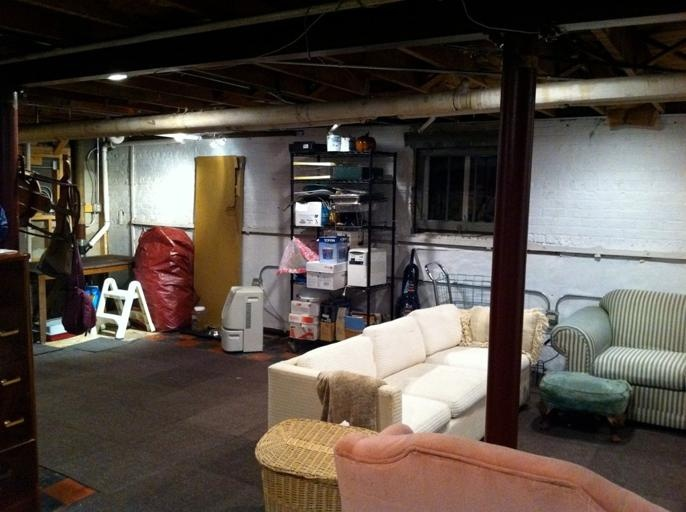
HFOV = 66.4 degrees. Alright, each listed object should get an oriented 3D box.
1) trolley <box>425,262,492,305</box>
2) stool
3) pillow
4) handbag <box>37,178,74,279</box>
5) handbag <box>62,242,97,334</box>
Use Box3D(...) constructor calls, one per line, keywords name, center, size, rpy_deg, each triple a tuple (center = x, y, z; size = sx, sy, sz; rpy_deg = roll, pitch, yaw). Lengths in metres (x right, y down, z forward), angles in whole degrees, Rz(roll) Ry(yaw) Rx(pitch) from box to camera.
Box3D(name="trolley", center=(1.484, 0.404, 6.773), size=(0.777, 0.460, 0.432), rpy_deg=(0, 4, 18))
Box3D(name="stool", center=(2.239, 1.361, 4.918), size=(0.766, 0.453, 0.551), rpy_deg=(3, 3, 25))
Box3D(name="pillow", center=(1.904, 0.873, 5.881), size=(1.107, 0.432, 0.892), rpy_deg=(5, -6, 15))
Box3D(name="handbag", center=(-3.346, -0.242, 6.086), size=(0.346, 1.146, 0.996), rpy_deg=(-5, 11, -30))
Box3D(name="handbag", center=(-3.245, 0.453, 6.364), size=(0.364, 1.157, 0.315), rpy_deg=(1, 10, 0))
